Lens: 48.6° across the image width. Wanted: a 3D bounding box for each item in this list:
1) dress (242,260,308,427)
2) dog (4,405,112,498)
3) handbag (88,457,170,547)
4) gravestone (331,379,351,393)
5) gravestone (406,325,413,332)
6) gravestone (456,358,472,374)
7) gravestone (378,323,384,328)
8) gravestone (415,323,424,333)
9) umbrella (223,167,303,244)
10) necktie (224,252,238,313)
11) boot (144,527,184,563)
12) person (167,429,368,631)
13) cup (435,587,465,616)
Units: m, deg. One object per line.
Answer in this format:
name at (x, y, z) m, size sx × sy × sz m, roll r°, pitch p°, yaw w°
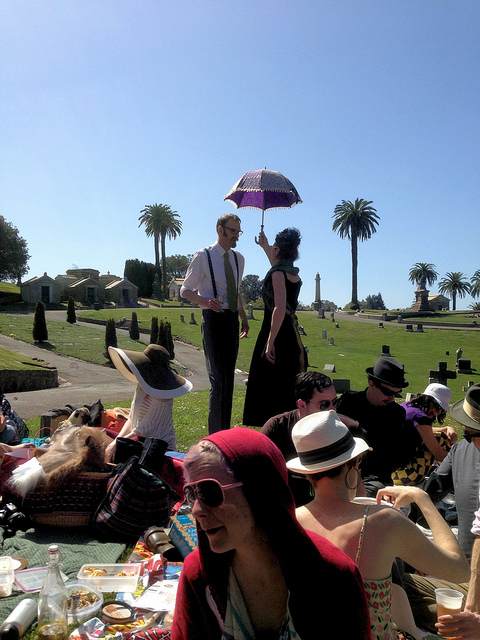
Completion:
dress at (0.325, 0.246, 5.430) m, size 0.684 × 1.741 × 0.600 m, roll -3°, pitch -3°, yaw 5°
dog at (-1.537, 1.189, 4.497) m, size 0.825 × 0.514 × 0.421 m, roll -1°, pitch -3°, yaw -26°
handbag at (-0.891, 1.473, 4.561) m, size 0.748 × 0.736 × 0.500 m, roll 3°, pitch 6°, yaw -21°
gravestone at (3.479, 2.251, 18.130) m, size 0.501 × 0.445 × 0.577 m, roll -3°, pitch -3°, yaw 3°
gravestone at (16.942, 0.866, 52.944) m, size 0.806 × 0.763 × 0.544 m, roll -3°, pitch 2°, yaw -34°
gravestone at (11.803, 2.374, 27.756) m, size 0.837 × 0.807 × 0.848 m, roll -1°, pitch 6°, yaw 6°
gravestone at (15.183, 0.637, 57.065) m, size 0.656 × 0.591 × 0.486 m, roll 0°, pitch -2°, yaw -21°
gravestone at (17.935, 0.854, 52.863) m, size 0.713 × 0.726 × 0.725 m, roll -1°, pitch -2°, yaw 15°
umbrella at (0.306, -1.332, 6.542) m, size 0.900 × 0.922 × 0.916 m, roll 7°, pitch 10°, yaw 34°
necktie at (-0.093, -0.380, 5.340) m, size 0.113 × 0.628 × 0.247 m, roll -3°, pitch -3°, yaw -1°
boot at (-0.583, 1.671, 3.951) m, size 0.118 × 0.148 × 0.252 m, roll 3°, pitch 5°, yaw -34°
person at (0.057, 0.749, 1.796) m, size 0.710 × 0.759 × 0.386 m, roll -3°, pitch -3°, yaw 7°
cup at (1.023, 1.353, 2.591) m, size 0.123 × 0.097 × 0.126 m, roll 5°, pitch -12°, yaw 1°
